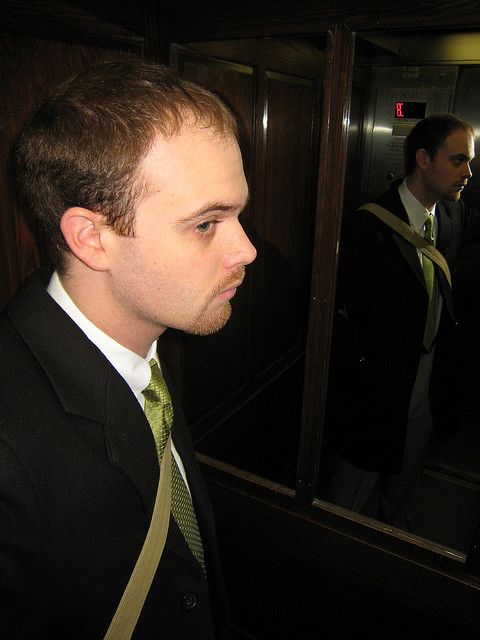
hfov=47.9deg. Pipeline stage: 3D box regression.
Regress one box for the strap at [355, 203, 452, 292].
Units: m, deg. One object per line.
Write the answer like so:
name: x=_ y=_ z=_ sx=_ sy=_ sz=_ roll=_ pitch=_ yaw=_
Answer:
strap: x=0.577 y=-0.270 z=1.908 sx=0.353 sy=0.114 sz=0.050 roll=43 pitch=16 yaw=-10

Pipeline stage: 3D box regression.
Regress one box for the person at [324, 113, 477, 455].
person: x=0.594 y=-0.044 z=1.952 sx=0.480 sy=1.320 sz=0.243 roll=9 pitch=28 yaw=10

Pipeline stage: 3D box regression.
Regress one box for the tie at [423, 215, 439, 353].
tie: x=0.680 y=-0.130 z=1.901 sx=0.042 sy=0.110 sz=0.539 roll=-2 pitch=64 yaw=24
